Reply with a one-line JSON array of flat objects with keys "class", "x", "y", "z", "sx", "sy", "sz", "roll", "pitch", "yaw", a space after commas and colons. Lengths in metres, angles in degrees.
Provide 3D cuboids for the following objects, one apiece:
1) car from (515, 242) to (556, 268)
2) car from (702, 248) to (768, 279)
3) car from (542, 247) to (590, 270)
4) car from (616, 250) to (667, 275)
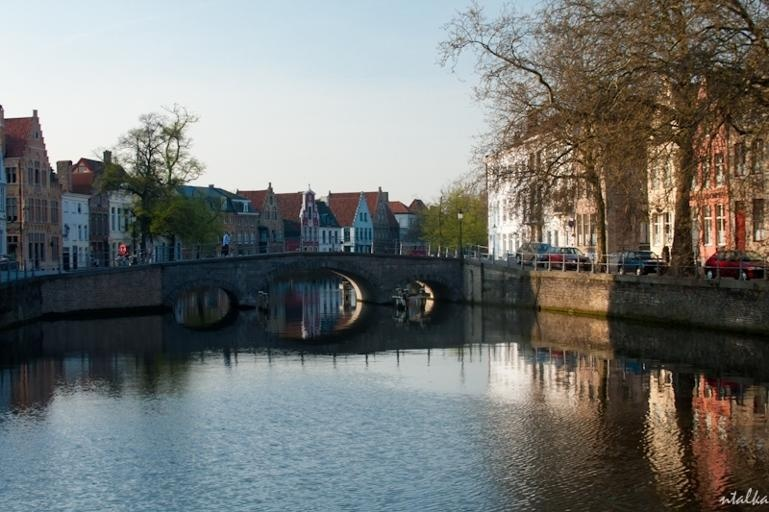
[{"class": "car", "x": 9.211, "y": -0.035, "z": 66.782, "sx": 1.232, "sy": 0.980, "sz": 2.660, "roll": 0, "pitch": -3, "yaw": -18}, {"class": "car", "x": 16.138, "y": 0.387, "z": 49.598, "sx": 1.448, "sy": 1.134, "sz": 2.348, "roll": 2, "pitch": -5, "yaw": -35}, {"class": "car", "x": 10.328, "y": 0.258, "z": 61.129, "sx": 1.169, "sy": 0.852, "sz": 2.566, "roll": 1, "pitch": -3, "yaw": -14}, {"class": "car", "x": 13.414, "y": 0.426, "z": 56.469, "sx": 1.345, "sy": 1.111, "sz": 2.313, "roll": 0, "pitch": -6, "yaw": -23}]
